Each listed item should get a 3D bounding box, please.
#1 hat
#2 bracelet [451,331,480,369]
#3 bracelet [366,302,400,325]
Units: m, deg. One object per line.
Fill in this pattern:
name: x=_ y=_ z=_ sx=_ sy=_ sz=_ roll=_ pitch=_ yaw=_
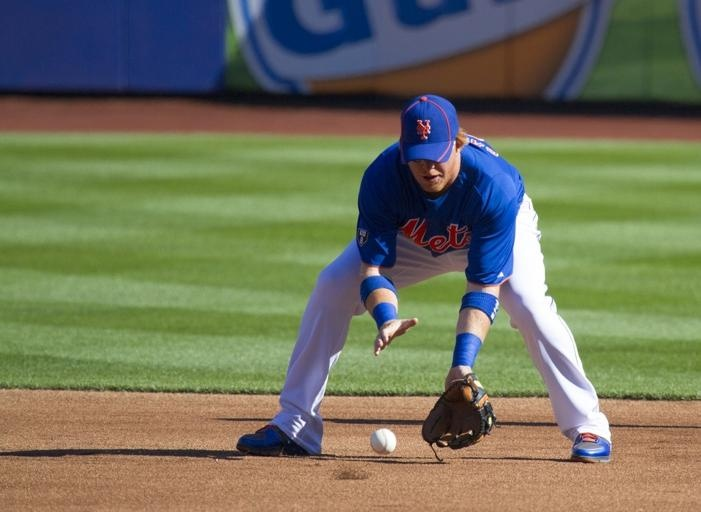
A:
hat: x=0.765 y=-1.192 z=15.146 sx=0.552 sy=0.638 sz=0.271 roll=5 pitch=5 yaw=2
bracelet: x=1.118 y=0.879 z=15.176 sx=0.250 sy=0.333 sz=0.136 roll=6 pitch=5 yaw=3
bracelet: x=0.326 y=0.571 z=15.245 sx=0.212 sy=0.214 sz=0.227 roll=4 pitch=36 yaw=31
